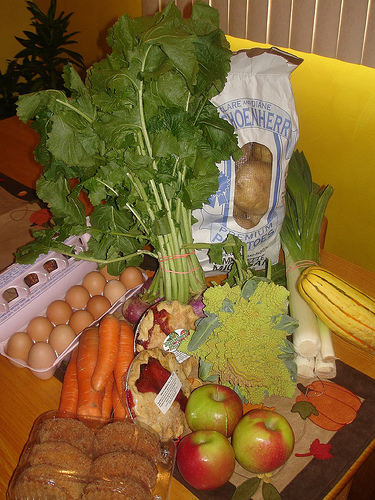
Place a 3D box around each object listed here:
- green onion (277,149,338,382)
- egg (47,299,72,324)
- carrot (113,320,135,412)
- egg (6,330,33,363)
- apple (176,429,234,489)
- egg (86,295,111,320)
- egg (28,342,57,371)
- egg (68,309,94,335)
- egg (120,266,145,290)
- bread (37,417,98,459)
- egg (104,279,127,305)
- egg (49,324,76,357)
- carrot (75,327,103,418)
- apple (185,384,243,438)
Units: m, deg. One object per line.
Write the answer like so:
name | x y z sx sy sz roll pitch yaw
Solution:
green onion | 0.230 -0.011 0.930 0.145 0.111 0.597 14 59 -17
egg | -0.258 0.127 0.793 0.046 0.052 0.044 5 61 1
carrot | -0.115 0.206 0.718 0.041 0.165 0.035 24 -29 -37
egg | -0.311 0.181 0.730 0.033 0.051 0.033 36 65 11
apple | 0.025 0.307 0.579 0.080 0.070 0.064 19 29 34
egg | -0.183 0.119 0.812 0.046 0.045 0.053 25 6 -4
egg | -0.262 0.190 0.729 0.046 0.054 0.045 -12 32 -25
egg | -0.212 0.143 0.782 0.044 0.050 0.043 -43 77 -8
egg | -0.120 0.061 0.921 0.049 0.057 0.047 -20 39 -13
bread | -0.167 0.256 0.549 0.052 0.023 0.050 14 -10 26
egg | -0.166 0.090 0.824 0.049 0.055 0.047 -1 -7 -35
egg | -0.236 0.168 0.743 0.053 0.061 0.052 -1 20 0
carrot | -0.177 0.221 0.709 0.044 0.089 0.152 -4 24 -13
apple | 0.045 0.254 0.624 0.081 0.074 0.079 1 11 4
